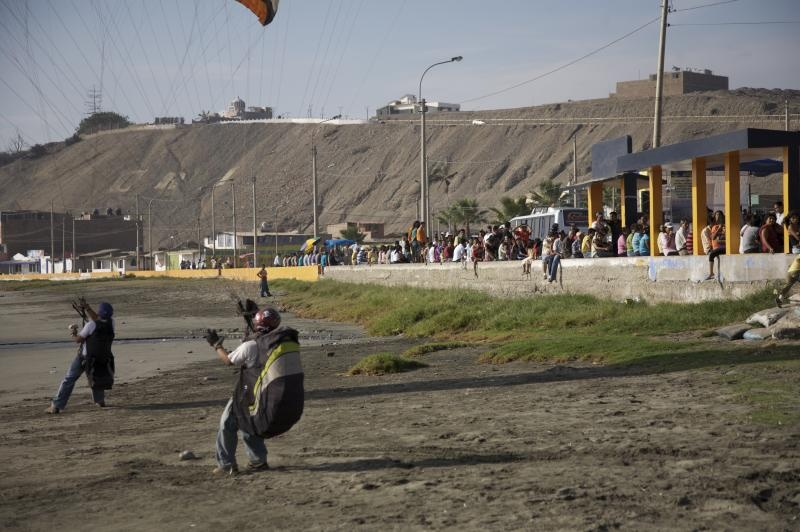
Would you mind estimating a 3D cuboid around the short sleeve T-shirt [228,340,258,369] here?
[{"bbox_3d":[-2.761,1.544,19.146,0.490,0.199,0.499,-27,-1,17],"label":"short sleeve T-shirt"}]

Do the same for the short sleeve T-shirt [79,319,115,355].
[{"bbox_3d":[-6.682,1.546,23.978,0.725,0.812,0.469,-9,9,-17],"label":"short sleeve T-shirt"}]

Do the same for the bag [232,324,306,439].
[{"bbox_3d":[-2.318,2.088,19.128,1.201,1.900,0.562,-7,8,-5],"label":"bag"}]

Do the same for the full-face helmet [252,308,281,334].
[{"bbox_3d":[-2.421,0.943,19.442,0.472,0.421,0.370,17,6,23],"label":"full-face helmet"}]
